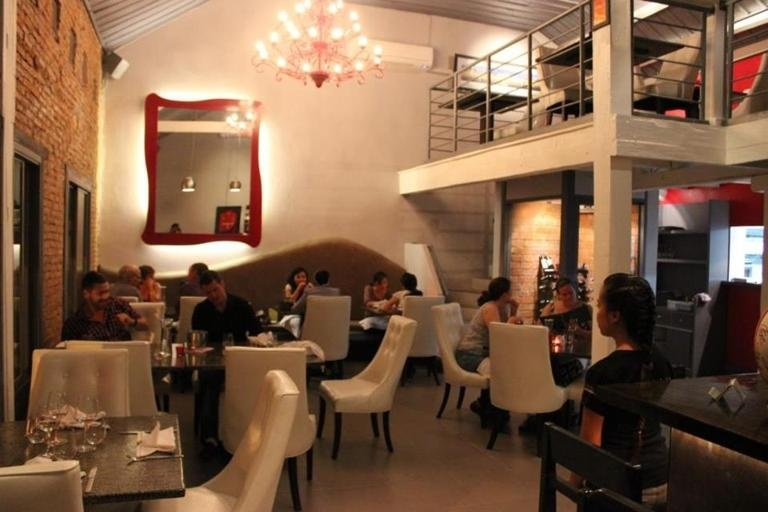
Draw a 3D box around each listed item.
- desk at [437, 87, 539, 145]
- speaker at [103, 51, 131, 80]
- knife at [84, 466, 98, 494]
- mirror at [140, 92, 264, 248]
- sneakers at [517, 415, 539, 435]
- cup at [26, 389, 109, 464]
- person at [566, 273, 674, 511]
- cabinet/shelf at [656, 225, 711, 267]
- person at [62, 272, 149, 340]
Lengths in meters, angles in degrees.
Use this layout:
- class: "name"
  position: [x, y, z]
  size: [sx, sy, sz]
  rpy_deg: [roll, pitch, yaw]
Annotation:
- class: "desk"
  position: [1.428, -2.078, 8.831]
  size: [1.121, 0.938, 3.686]
  rpy_deg: [1, 7, 5]
- class: "speaker"
  position: [-3.898, -2.826, 8.733]
  size: [0.366, 0.364, 0.568]
  rpy_deg: [-2, 8, -22]
- class: "knife"
  position: [-1.579, 1.206, 3.216]
  size: [0.039, 0.010, 0.223]
  rpy_deg: [0, 5, -15]
- class: "mirror"
  position: [-2.902, -1.381, 9.272]
  size: [2.400, 2.986, 0.139]
  rpy_deg: [2, -3, -14]
- class: "sneakers"
  position: [1.471, 1.722, 6.059]
  size: [0.185, 0.090, 0.255]
  rpy_deg: [0, 5, 3]
- class: "cup"
  position: [-1.872, 0.971, 3.578]
  size: [0.374, 0.168, 0.424]
  rpy_deg: [5, 2, -24]
- class: "person"
  position: [1.263, 0.698, 3.128]
  size: [0.450, 1.178, 0.583]
  rpy_deg: [4, 8, 26]
- class: "cabinet/shelf"
  position: [4.674, -0.183, 9.307]
  size: [0.214, 0.453, 0.646]
  rpy_deg: [4, -3, -27]
- class: "person"
  position: [-2.610, 0.521, 5.490]
  size: [0.433, 0.674, 0.773]
  rpy_deg: [14, 14, 25]
